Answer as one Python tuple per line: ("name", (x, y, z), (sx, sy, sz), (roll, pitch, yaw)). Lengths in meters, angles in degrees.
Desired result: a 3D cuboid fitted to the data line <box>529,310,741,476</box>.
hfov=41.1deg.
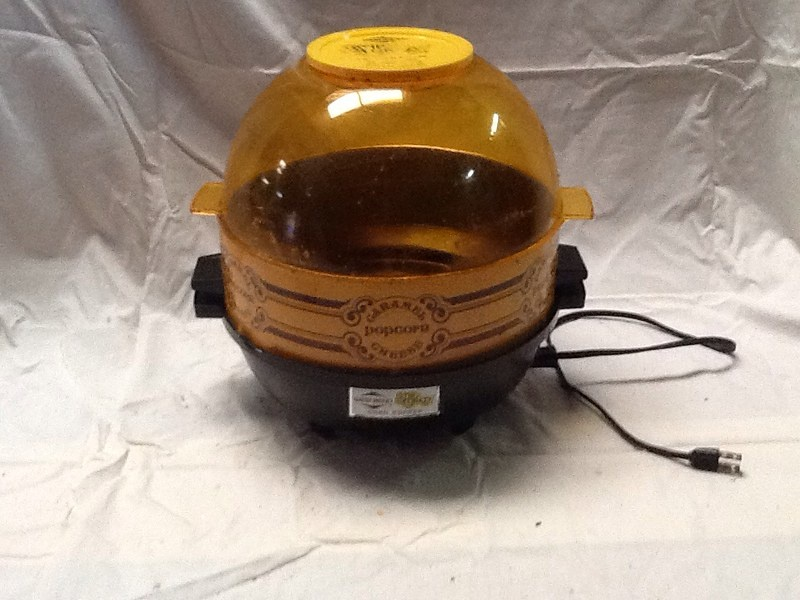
("data line", (0.447, 0.176, 2.002), (0.287, 0.031, 0.405), (1, 22, 10))
